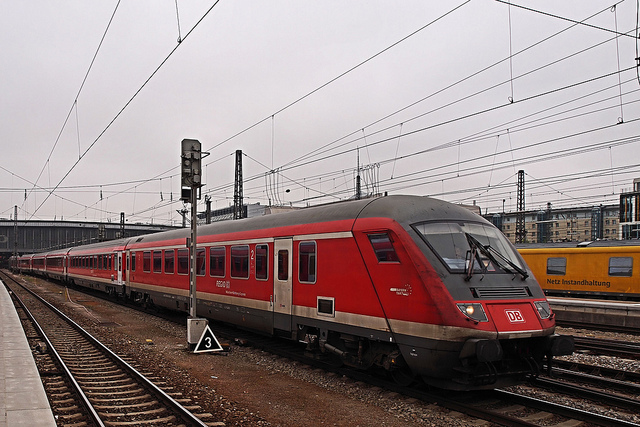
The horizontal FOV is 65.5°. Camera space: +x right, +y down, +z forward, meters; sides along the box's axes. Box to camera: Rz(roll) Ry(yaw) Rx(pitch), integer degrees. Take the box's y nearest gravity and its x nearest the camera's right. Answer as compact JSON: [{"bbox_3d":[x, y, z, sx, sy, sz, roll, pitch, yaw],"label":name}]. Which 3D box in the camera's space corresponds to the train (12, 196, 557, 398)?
[{"bbox_3d":[-0.072,2.135,15.941,13.882,5.010,2.947,-2,-2,43],"label":"train"}]
